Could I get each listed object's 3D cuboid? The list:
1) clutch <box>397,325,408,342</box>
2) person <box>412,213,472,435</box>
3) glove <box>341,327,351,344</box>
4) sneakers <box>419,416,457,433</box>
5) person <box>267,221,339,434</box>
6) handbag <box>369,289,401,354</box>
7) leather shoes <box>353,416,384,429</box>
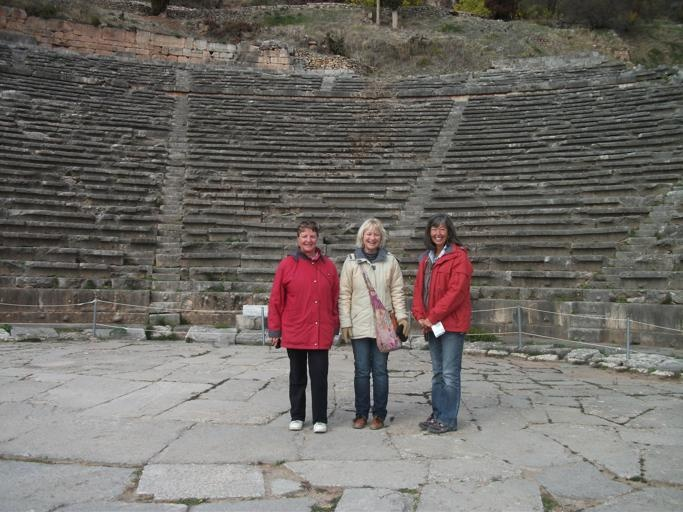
[{"bbox_3d":[0.680,0.873,6.229,0.136,0.115,0.202,-4,-45,16],"label":"clutch"},{"bbox_3d":[1.138,0.738,6.263,0.664,2.458,0.406,0,-3,10],"label":"person"},{"bbox_3d":[0.050,0.909,6.299,0.108,0.162,0.227,1,-3,1],"label":"glove"},{"bbox_3d":[1.050,1.881,6.085,0.306,0.079,0.180,10,-12,-20],"label":"sneakers"},{"bbox_3d":[-0.428,0.782,6.237,0.803,2.362,0.293,1,-3,0],"label":"person"},{"bbox_3d":[0.497,0.734,6.220,0.367,0.719,0.124,1,-3,-2],"label":"handbag"},{"bbox_3d":[0.310,1.888,6.205,0.281,0.127,0.253,-2,-3,41],"label":"leather shoes"}]
